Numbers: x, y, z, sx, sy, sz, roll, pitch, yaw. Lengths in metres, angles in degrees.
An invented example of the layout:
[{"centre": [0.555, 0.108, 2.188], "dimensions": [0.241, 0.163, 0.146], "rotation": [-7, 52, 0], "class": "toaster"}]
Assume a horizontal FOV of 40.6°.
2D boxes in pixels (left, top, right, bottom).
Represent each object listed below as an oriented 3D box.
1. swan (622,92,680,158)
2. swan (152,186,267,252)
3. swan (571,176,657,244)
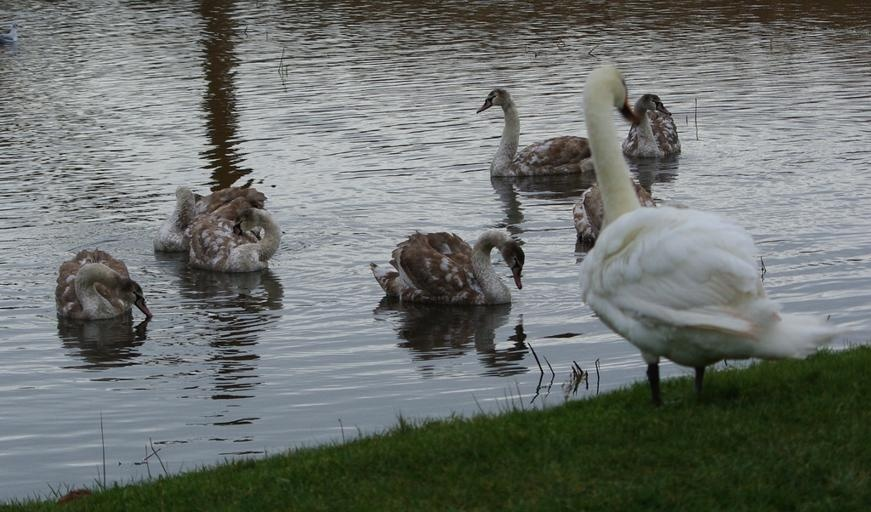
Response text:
[{"centre": [6.635, -4.027, 37.098], "dimensions": [2.290, 2.009, 3.280], "rotation": [-1, 21, 5], "class": "swan"}, {"centre": [-5.730, -0.876, 30.183], "dimensions": [2.557, 1.618, 5.328], "rotation": [2, 2, -16], "class": "swan"}, {"centre": [3.802, -0.961, 28.840], "dimensions": [1.549, 1.897, 3.804], "rotation": [1, 2, -4], "class": "swan"}]
